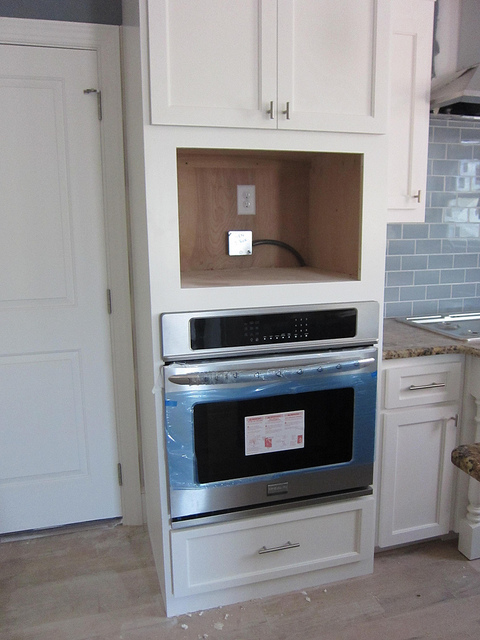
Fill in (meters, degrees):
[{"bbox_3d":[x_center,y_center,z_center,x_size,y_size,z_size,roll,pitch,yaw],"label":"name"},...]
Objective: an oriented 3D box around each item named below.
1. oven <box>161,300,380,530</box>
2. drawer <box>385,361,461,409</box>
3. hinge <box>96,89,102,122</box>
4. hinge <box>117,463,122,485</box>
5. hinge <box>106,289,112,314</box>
[{"bbox_3d":[0.065,0.247,1.911,0.734,0.700,0.510,-3,12,-11],"label":"oven"},{"bbox_3d":[0.635,0.224,1.939,0.253,0.123,0.163,-3,7,-17],"label":"drawer"},{"bbox_3d":[-0.515,-0.790,2.034,0.021,0.111,0.011,-3,10,-12],"label":"hinge"},{"bbox_3d":[-0.498,0.643,2.304,0.021,0.092,0.005,4,11,27],"label":"hinge"},{"bbox_3d":[-0.512,-0.072,2.174,0.021,0.097,0.004,3,10,20],"label":"hinge"}]
